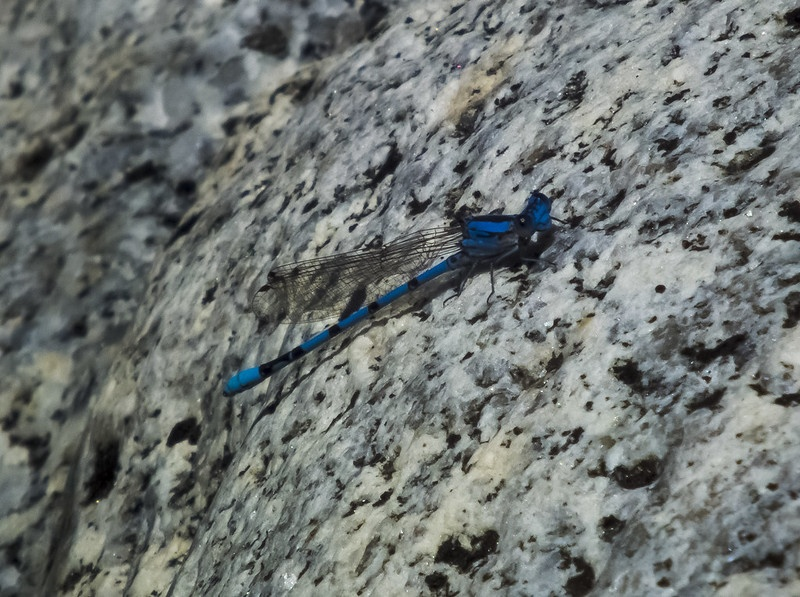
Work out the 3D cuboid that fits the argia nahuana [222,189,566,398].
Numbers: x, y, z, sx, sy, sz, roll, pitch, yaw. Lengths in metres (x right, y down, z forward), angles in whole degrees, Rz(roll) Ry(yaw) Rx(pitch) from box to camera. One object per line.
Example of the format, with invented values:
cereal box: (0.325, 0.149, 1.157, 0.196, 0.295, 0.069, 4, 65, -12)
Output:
argia nahuana: (-0.180, -0.426, 15.136, 5.028, 1.369, 1.525, -15, 50, 19)
